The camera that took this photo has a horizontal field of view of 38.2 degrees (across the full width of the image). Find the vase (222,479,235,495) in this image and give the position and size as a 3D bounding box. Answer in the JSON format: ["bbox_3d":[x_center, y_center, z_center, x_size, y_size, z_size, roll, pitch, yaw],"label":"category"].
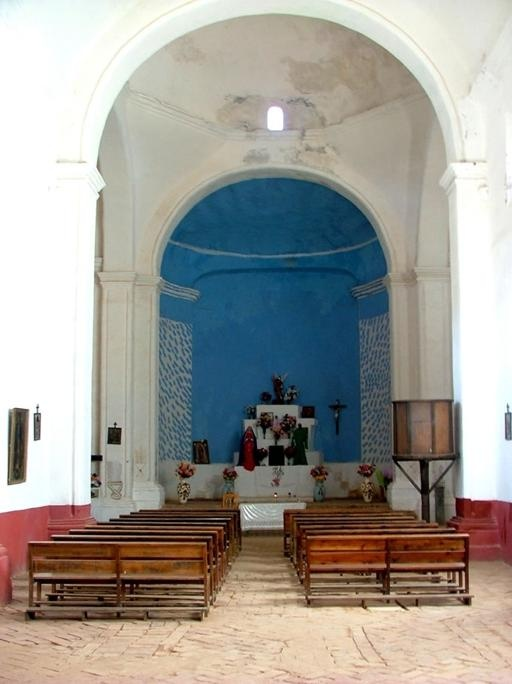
[{"bbox_3d":[-0.512,2.573,13.207,0.260,0.391,0.257,0,1,-13],"label":"vase"}]

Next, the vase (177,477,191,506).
[{"bbox_3d":[-1.260,2.591,12.858,0.203,0.442,0.480,0,-7,-8],"label":"vase"}]

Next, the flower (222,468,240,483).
[{"bbox_3d":[-0.452,2.378,13.035,0.268,0.240,0.259,8,8,12],"label":"flower"}]

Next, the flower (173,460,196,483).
[{"bbox_3d":[-1.235,2.227,12.900,0.462,0.463,0.428,2,-18,-6],"label":"flower"}]

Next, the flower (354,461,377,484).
[{"bbox_3d":[1.900,2.281,13.004,0.457,0.425,0.449,-4,-12,26],"label":"flower"}]

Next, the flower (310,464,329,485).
[{"bbox_3d":[1.131,2.315,12.993,0.367,0.340,0.355,1,1,15],"label":"flower"}]

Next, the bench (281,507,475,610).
[{"bbox_3d":[1.084,1.833,6.187,1.336,0.477,0.981,2,-17,-4],"label":"bench"}]
